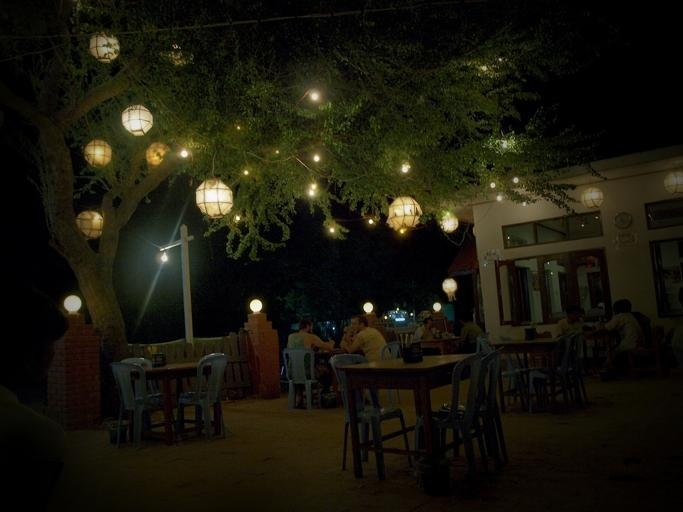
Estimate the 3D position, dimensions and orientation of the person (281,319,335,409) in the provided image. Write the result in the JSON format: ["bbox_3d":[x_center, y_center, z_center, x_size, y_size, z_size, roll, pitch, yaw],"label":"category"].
[{"bbox_3d":[-0.669,2.159,11.499,0.891,1.778,0.872,-2,-2,35],"label":"person"}]

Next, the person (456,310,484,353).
[{"bbox_3d":[3.081,2.074,13.916,0.455,1.346,0.533,-3,-3,26],"label":"person"}]
